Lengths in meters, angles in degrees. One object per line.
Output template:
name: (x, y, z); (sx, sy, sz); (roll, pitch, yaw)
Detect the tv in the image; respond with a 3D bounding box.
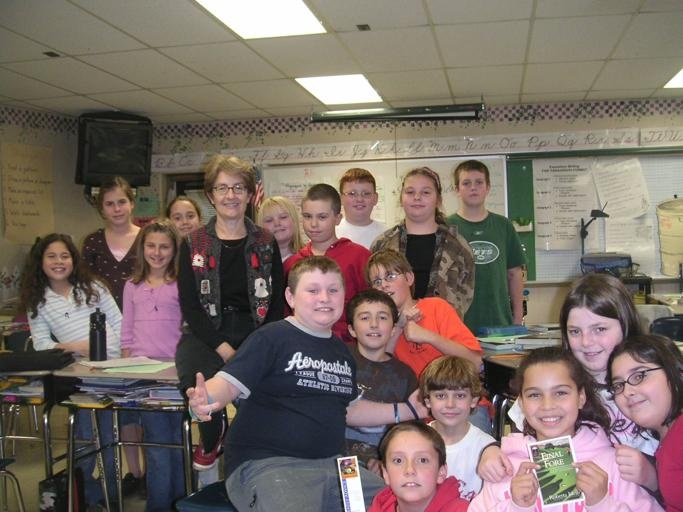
tv: (-2.634, -1.246, 6.692); (0.883, 0.869, 0.524); (-4, 23, -38)

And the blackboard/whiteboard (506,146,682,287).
blackboard/whiteboard: (2.790, -0.449, 6.349); (1.793, 1.127, 0.136); (-1, 3, 5)

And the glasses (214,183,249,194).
glasses: (-0.655, -0.390, 3.457); (0.181, 0.054, 0.063); (0, -1, -12)

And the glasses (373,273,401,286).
glasses: (0.252, 0.131, 3.255); (0.165, 0.073, 0.042); (0, 0, 3)

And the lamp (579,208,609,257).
lamp: (2.816, -0.275, 6.620); (0.303, 0.519, 0.082); (0, 0, 19)

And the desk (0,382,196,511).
desk: (-1.453, 1.185, 3.591); (1.177, 0.671, 0.358); (0, 17, 3)

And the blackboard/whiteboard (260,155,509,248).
blackboard/whiteboard: (0.464, -0.469, 4.919); (1.387, 0.700, 0.021); (-1, -9, 3)

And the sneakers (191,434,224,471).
sneakers: (-0.715, 1.053, 3.128); (0.148, 0.159, 0.215); (0, -1, -12)
